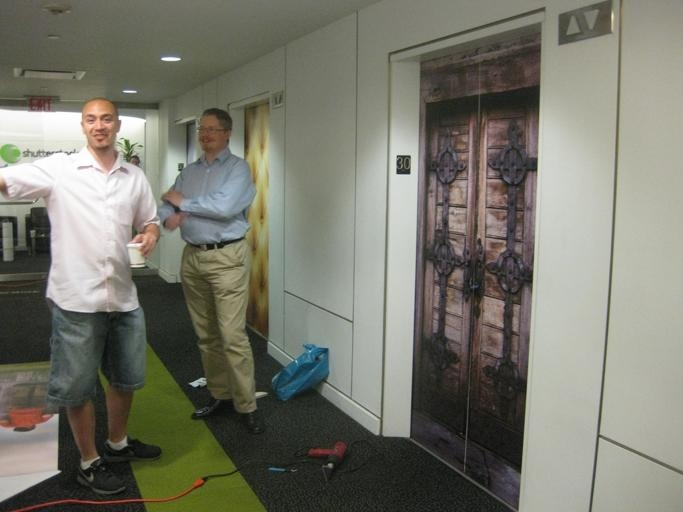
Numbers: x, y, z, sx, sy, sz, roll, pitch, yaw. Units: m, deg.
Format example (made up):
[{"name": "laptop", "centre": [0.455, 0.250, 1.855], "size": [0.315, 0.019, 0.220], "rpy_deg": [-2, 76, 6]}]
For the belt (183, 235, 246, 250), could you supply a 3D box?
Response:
[{"name": "belt", "centre": [-0.939, -0.092, 3.813], "size": [0.406, 0.096, 0.115], "rpy_deg": [1, 9, -4]}]

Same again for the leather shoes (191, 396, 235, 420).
[{"name": "leather shoes", "centre": [-1.017, 1.187, 4.099], "size": [0.386, 0.180, 0.124], "rpy_deg": [1, 1, -39]}]

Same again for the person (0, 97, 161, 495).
[{"name": "person", "centre": [-1.494, 0.259, 3.068], "size": [0.772, 2.339, 0.444], "rpy_deg": [-2, 8, -21]}]

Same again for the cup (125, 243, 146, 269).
[{"name": "cup", "centre": [-1.152, -0.001, 2.928], "size": [0.121, 0.145, 0.131], "rpy_deg": [0, 4, 0]}]

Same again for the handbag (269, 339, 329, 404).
[{"name": "handbag", "centre": [-0.340, 0.989, 4.338], "size": [0.380, 0.504, 0.193], "rpy_deg": [50, 7, 26]}]

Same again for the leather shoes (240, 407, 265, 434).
[{"name": "leather shoes", "centre": [-0.663, 1.237, 3.833], "size": [0.090, 0.114, 0.250], "rpy_deg": [-2, 1, -24]}]

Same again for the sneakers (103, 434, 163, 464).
[{"name": "sneakers", "centre": [-1.388, 1.298, 3.487], "size": [0.424, 0.213, 0.149], "rpy_deg": [0, 5, -20]}]

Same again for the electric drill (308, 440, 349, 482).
[{"name": "electric drill", "centre": [-0.042, 1.353, 3.489], "size": [0.361, 0.103, 0.291], "rpy_deg": [-6, 12, -38]}]

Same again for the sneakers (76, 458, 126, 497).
[{"name": "sneakers", "centre": [-1.459, 1.327, 3.168], "size": [0.356, 0.186, 0.145], "rpy_deg": [15, 16, 25]}]

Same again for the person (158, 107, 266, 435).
[{"name": "person", "centre": [-0.937, 0.094, 3.840], "size": [0.873, 2.369, 0.576], "rpy_deg": [6, 9, 29]}]
